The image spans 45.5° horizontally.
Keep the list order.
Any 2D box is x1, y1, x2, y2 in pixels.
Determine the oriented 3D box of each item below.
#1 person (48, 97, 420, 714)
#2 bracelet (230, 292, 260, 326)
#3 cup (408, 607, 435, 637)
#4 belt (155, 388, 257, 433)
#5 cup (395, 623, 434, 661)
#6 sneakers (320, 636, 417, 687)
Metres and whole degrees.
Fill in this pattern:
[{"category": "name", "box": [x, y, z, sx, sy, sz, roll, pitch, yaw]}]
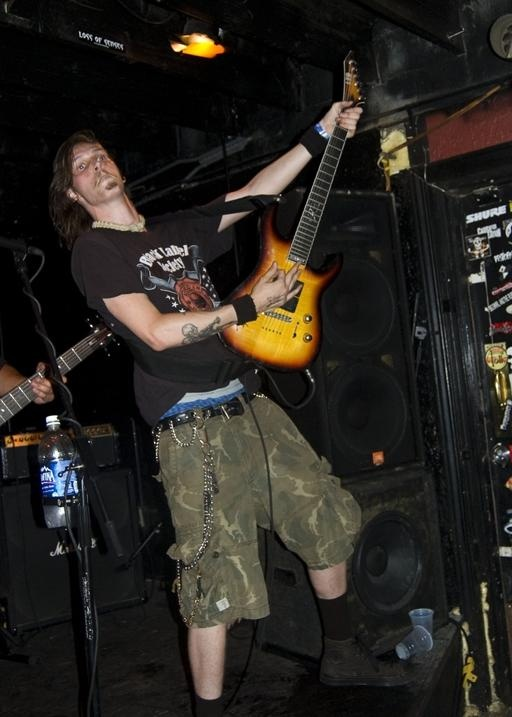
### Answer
[{"category": "person", "box": [-0.101, 0.174, 1.896, 0.789, 1.603, 0.480, -8, 3, -20]}, {"category": "bracelet", "box": [-0.035, -0.133, 1.701, 0.082, 0.074, 0.026, -7, 22, -30]}, {"category": "cup", "box": [0.634, 1.009, 2.348, 0.108, 0.117, 0.094, -2, -14, -2]}, {"category": "belt", "box": [-0.146, 0.161, 1.794, 0.182, 0.035, 0.111, -22, 1, -22]}, {"category": "cup", "box": [0.585, 1.068, 2.268, 0.121, 0.100, 0.102, -11, -20, -47]}, {"category": "sneakers", "box": [0.323, 1.011, 2.079, 0.384, 0.203, 0.131, -1, -13, -2]}]
